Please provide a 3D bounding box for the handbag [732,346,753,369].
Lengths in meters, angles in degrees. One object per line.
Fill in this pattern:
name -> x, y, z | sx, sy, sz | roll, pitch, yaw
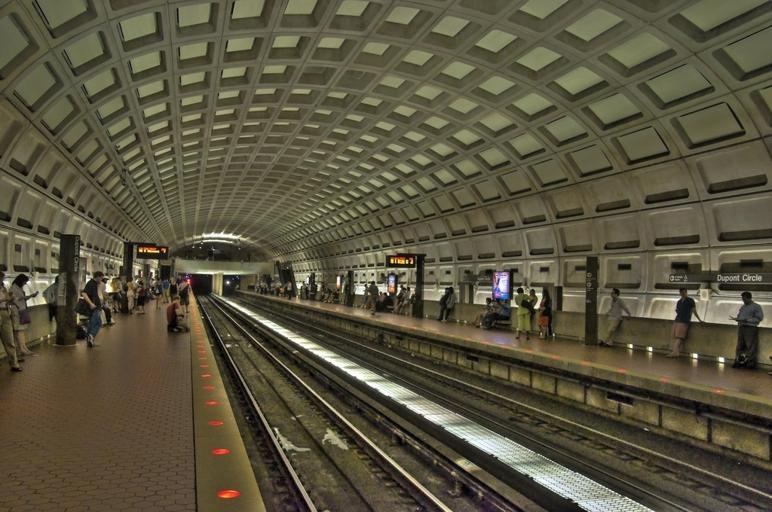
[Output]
handbag -> 9.909, 2.808, 11.528 | 0.426, 0.512, 0.551 | 0, 2, -39

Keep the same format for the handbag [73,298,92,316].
handbag -> -10.134, 1.692, 13.770 | 0.447, 0.600, 0.340 | 4, -5, -26
